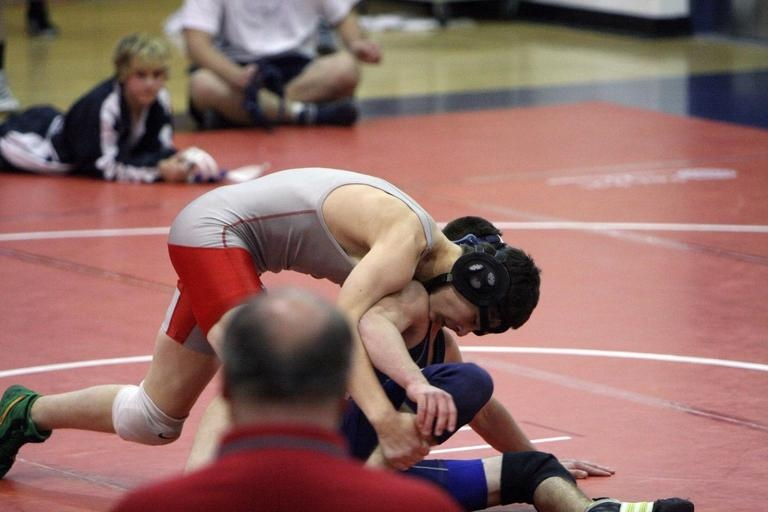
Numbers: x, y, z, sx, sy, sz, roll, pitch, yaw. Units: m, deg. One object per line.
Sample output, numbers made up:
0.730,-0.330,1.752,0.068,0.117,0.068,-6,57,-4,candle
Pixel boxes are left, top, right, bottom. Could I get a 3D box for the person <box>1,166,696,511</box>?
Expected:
-0.249,0.142,2.848,2.307,1.093,0.965,6,17,7,person
